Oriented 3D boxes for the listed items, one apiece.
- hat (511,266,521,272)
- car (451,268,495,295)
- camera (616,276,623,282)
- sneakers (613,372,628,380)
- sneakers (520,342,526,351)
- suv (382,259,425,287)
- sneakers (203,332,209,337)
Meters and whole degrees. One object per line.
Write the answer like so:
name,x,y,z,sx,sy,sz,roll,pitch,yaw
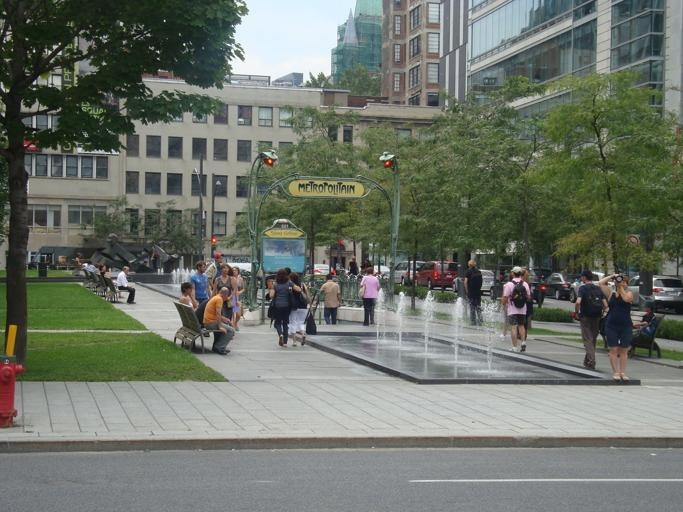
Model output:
hat,5.074,0.397,33.948,0.353,0.179,0.527,0,-1,1
car,7.244,1.336,59.608,1.627,1.378,2.803,0,4,-4
camera,6.438,0.541,27.000,0.151,0.144,0.176,1,-1,13
sneakers,6.386,2.786,26.612,0.378,0.166,0.256,1,-2,0
sneakers,4.781,2.469,30.717,0.104,0.132,0.309,1,-39,2
suv,3.604,1.044,67.773,1.340,1.079,3.044,-1,2,-15
sneakers,-3.369,1.975,28.760,0.137,0.143,0.067,1,1,25
